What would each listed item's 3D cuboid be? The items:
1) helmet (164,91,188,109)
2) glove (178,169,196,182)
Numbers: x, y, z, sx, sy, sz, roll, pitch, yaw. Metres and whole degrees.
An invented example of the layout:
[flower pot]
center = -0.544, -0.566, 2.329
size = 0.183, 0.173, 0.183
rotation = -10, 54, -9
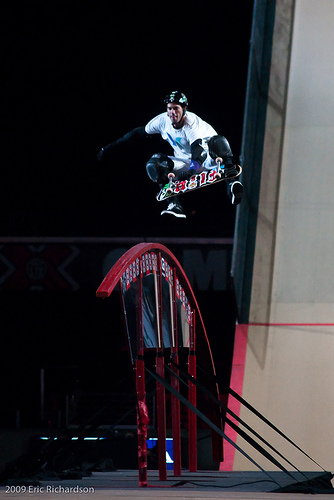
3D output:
[helmet]
center = 0.150, -2.056, 11.672
size = 0.250, 0.247, 0.203
rotation = 20, 4, 30
[glove]
center = 0.276, -1.026, 11.562
size = 0.194, 0.069, 0.145
rotation = -36, 24, 4
